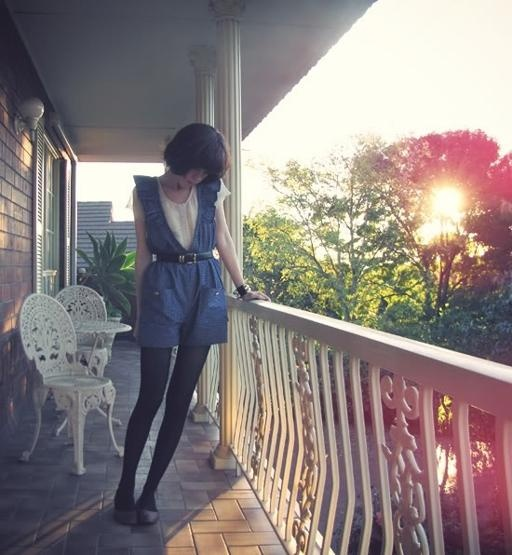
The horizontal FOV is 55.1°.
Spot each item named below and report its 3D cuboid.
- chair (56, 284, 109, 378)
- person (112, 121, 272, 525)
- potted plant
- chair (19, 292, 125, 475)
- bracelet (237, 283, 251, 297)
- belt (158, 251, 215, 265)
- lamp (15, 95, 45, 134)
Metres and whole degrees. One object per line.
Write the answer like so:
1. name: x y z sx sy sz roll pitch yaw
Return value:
1. chair: -1.512 0.219 4.278 0.426 0.617 0.865 -2 44 -28
2. person: -0.296 0.209 1.979 0.509 1.581 0.403 1 2 -19
3. potted plant: -2.175 0.004 7.310 0.782 1.399 0.938 -6 14 -40
4. chair: -1.132 0.599 2.958 0.469 1.054 0.539 -4 -1 -16
5. bracelet: -0.064 0.053 2.251 0.045 0.046 0.053 -8 4 -1
6. belt: -0.284 -0.077 1.964 0.230 0.050 0.109 3 2 -6
7. lamp: -1.789 -1.273 3.885 0.174 0.283 0.273 1 2 -21
